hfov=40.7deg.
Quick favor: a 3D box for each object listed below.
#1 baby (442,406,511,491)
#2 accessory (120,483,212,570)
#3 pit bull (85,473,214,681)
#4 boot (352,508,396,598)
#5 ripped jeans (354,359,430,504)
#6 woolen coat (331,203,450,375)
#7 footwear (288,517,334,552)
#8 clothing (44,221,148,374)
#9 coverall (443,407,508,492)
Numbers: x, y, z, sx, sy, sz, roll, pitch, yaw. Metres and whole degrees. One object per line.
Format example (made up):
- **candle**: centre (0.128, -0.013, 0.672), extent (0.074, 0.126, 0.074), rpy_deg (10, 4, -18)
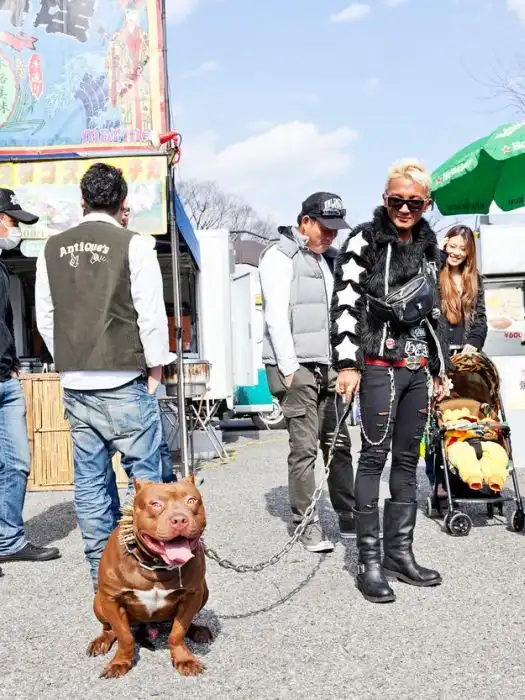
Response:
- **baby**: centre (1.434, 0.621, 4.667), extent (0.345, 0.230, 0.744), rpy_deg (-7, 43, 4)
- **accessory**: centre (-0.346, 0.600, 2.408), extent (0.205, 0.224, 0.384), rpy_deg (0, -5, -12)
- **pit bull**: centre (-0.414, 0.801, 2.617), extent (0.465, 0.702, 0.606), rpy_deg (-2, 10, -24)
- **boot**: centre (0.539, 0.991, 3.372), extent (0.158, 0.395, 0.266), rpy_deg (-3, 7, 0)
- **ripped jeans**: centre (0.657, 0.418, 3.548), extent (0.348, 0.760, 0.230), rpy_deg (7, -6, -26)
- **woolen coat**: centre (0.586, -0.253, 3.546), extent (0.699, 0.941, 0.370), rpy_deg (-3, 2, -15)
- **footwear**: centre (0.322, 1.101, 4.261), extent (0.219, 0.237, 0.190), rpy_deg (-2, 7, 6)
- **clothing**: centre (-0.751, -0.241, 3.250), extent (0.427, 0.672, 0.348), rpy_deg (1, 3, -2)
- **coverall**: centre (1.406, 0.647, 4.669), extent (0.389, 0.272, 0.826), rpy_deg (0, 28, 4)
